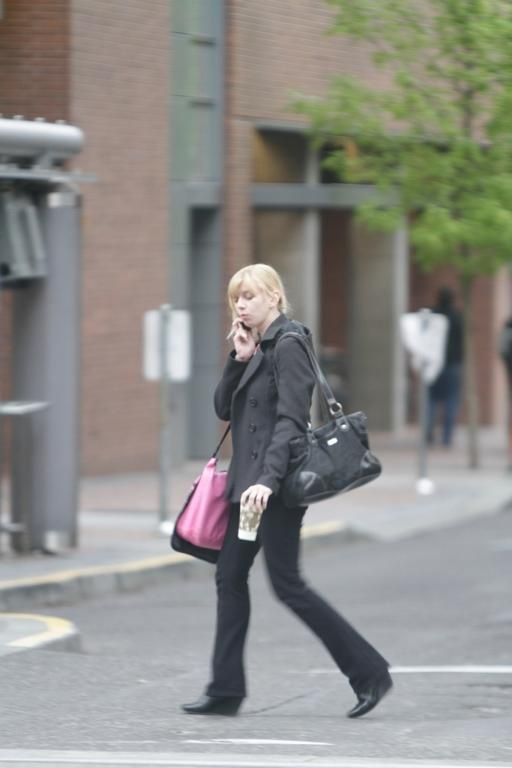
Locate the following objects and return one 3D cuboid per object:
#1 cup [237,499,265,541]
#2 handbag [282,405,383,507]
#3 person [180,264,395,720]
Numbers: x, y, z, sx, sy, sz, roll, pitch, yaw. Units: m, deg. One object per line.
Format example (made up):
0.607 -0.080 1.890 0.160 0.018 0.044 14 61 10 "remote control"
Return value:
-0.020 0.443 5.403 0.110 0.165 0.109 7 -10 1 "cup"
0.252 0.226 5.573 0.350 0.306 0.143 -17 13 -27 "handbag"
0.104 0.377 5.633 0.699 1.583 0.584 1 4 12 "person"
